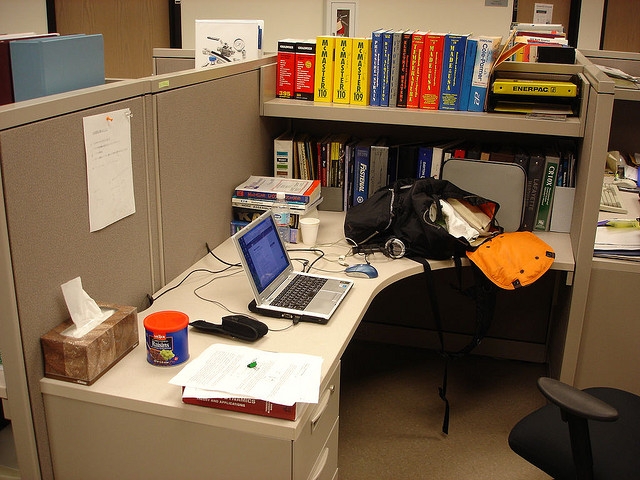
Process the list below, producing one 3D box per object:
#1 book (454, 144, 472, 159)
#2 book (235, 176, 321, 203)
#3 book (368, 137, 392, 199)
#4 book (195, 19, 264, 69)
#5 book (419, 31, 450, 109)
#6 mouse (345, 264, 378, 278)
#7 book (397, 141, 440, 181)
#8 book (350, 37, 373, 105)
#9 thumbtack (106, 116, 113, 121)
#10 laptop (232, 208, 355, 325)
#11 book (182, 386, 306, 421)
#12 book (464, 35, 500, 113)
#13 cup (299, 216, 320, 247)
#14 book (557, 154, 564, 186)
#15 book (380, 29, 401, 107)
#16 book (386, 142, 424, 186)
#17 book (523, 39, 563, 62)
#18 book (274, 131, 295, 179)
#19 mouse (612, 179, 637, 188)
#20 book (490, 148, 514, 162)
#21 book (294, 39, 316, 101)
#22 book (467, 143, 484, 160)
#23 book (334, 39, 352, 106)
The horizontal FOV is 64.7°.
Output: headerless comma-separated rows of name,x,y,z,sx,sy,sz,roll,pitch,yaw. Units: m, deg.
book,0.686,-0.428,2.451,0.068,0.052,0.307,6,20,12
book,-0.182,-0.251,2.386,0.325,0.088,0.403,4,18,12
book,0.289,-0.341,2.475,0.090,0.254,0.262,4,16,9
book,-0.435,-0.940,2.426,0.314,0.203,0.101,-5,19,-15
book,0.539,-0.807,2.395,0.096,0.295,0.274,4,21,12
mouse,0.155,0.120,1.919,0.086,0.028,0.056,3,18,12
book,0.472,-0.406,2.512,0.176,0.173,0.136,11,21,16
book,0.199,-0.822,2.476,0.105,0.304,0.045,1,18,4
thumbtack,-0.607,-0.351,1.461,0.021,0.009,0.010,18,57,6
laptop,-0.087,0.143,1.786,0.380,0.293,0.412,9,26,14
book,-0.184,0.405,1.258,0.172,0.015,0.232,14,20,41
book,0.748,-0.775,2.369,0.121,0.325,0.345,21,5,21
cup,-0.042,-0.040,2.232,0.113,0.122,0.108,-1,12,0
book,1.103,-0.306,2.333,0.022,0.095,0.094,4,10,16
book,0.306,-0.832,2.463,0.052,0.303,0.125,9,21,6
book,0.411,-0.363,2.458,0.069,0.203,0.217,13,12,33
book,1.129,-0.971,2.583,0.175,0.116,0.266,8,20,22
book,-0.182,-0.423,2.572,0.083,0.264,0.240,4,8,9
mouse,1.608,-0.303,2.687,0.077,0.023,0.054,6,24,20
book,0.862,-0.406,2.417,0.103,0.038,0.163,6,19,17
book,-0.074,-0.854,2.530,0.128,0.240,0.244,3,17,6
book,0.748,-0.428,2.455,0.068,0.057,0.348,7,21,19
book,0.112,-0.840,2.489,0.096,0.299,0.288,1,-6,5
